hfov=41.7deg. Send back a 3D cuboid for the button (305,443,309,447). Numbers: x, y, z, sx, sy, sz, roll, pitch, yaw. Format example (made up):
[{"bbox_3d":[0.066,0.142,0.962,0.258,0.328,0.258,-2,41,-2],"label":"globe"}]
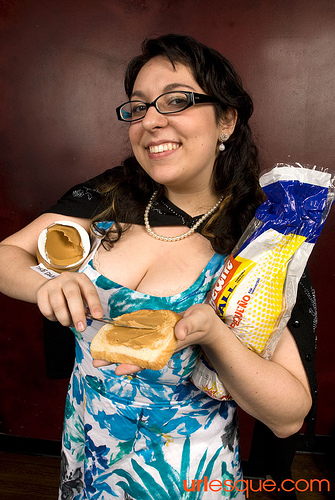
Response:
[{"bbox_3d":[0.354,0.497,1.121,0.012,0.010,0.003,6,26,6],"label":"button"}]

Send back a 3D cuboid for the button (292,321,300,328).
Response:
[{"bbox_3d":[0.289,0.168,0.988,0.016,0.014,0.004,-25,-2,-14],"label":"button"}]

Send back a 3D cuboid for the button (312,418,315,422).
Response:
[{"bbox_3d":[0.358,0.418,1.079,0.003,0.007,0.009,10,68,-12],"label":"button"}]
